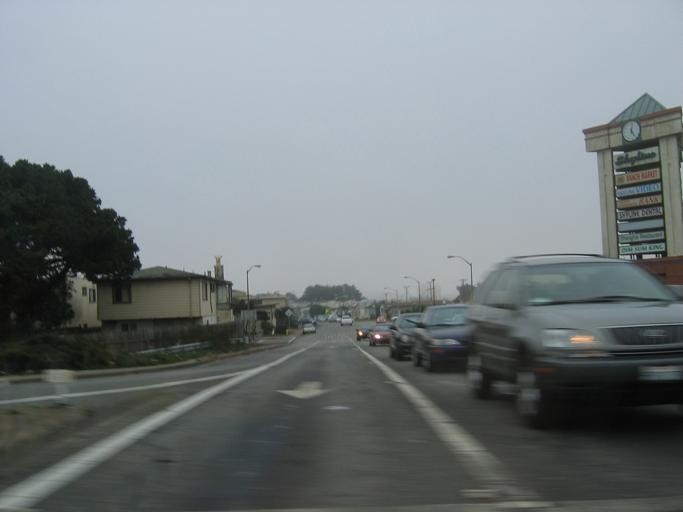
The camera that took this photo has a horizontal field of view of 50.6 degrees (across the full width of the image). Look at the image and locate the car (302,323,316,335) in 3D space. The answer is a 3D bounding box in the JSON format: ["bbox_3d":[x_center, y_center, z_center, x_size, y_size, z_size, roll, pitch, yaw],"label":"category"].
[{"bbox_3d":[-4.407,9.131,92.752,1.449,1.415,2.210,1,-4,-7],"label":"car"}]
